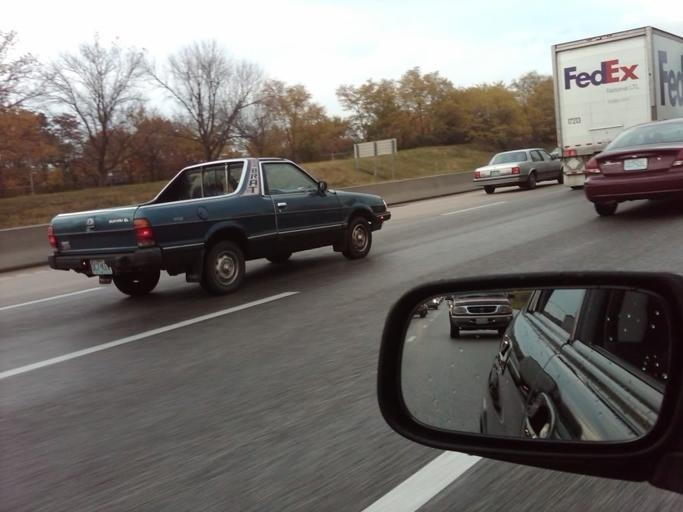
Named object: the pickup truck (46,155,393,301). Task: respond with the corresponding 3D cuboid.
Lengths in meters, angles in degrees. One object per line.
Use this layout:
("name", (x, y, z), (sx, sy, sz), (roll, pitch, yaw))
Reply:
("pickup truck", (-1.838, -0.690, 9.552), (6.336, 2.147, 2.219), (-13, 11, -43))
